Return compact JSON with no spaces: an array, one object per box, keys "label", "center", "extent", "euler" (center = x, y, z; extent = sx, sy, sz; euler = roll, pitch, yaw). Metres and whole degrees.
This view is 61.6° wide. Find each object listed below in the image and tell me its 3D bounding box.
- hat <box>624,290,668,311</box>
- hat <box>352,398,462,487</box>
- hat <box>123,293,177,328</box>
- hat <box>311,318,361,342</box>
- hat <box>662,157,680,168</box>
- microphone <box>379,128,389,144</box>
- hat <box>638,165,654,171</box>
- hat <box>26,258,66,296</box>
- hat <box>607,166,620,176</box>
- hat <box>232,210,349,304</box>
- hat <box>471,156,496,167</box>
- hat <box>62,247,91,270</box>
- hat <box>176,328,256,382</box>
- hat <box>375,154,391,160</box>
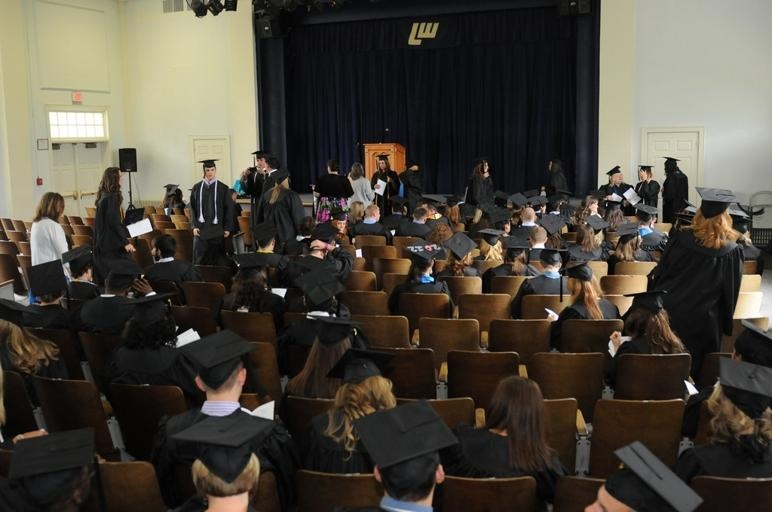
[{"label":"hat","center":[2.076,0.345,5.214],"extent":[0.206,0.109,0.182],"euler":[-4,3,-43]},{"label":"hat","center":[0.097,0.975,3.540],"extent":[0.436,0.164,0.415],"euler":[-4,10,-24]},{"label":"hat","center":[-1.793,0.417,4.928],"extent":[0.255,0.118,0.250],"euler":[-4,20,0]},{"label":"hat","center":[-0.325,0.526,4.710],"extent":[0.350,0.178,0.157],"euler":[-7,12,-37]},{"label":"hat","center":[5.891,-1.967,13.468],"extent":[0.346,0.194,0.374],"euler":[3,10,24]},{"label":"microphone","center":[-0.030,-3.417,18.112],"extent":[0.261,0.394,0.047],"euler":[4,10,20]},{"label":"hat","center":[5.513,-1.895,13.797],"extent":[0.239,0.210,0.264],"euler":[5,9,40]},{"label":"hat","center":[-3.047,0.201,5.852],"extent":[0.309,0.334,0.077],"euler":[-7,-7,9]},{"label":"hat","center":[4.600,-1.747,13.266],"extent":[0.296,0.168,0.290],"euler":[0,5,41]},{"label":"hat","center":[-0.823,0.206,6.360],"extent":[0.799,1.131,0.884],"euler":[5,28,13]},{"label":"hat","center":[2.435,-2.366,16.059],"extent":[0.531,0.356,0.777],"euler":[6,13,32]},{"label":"hat","center":[-3.158,-0.011,6.651],"extent":[0.215,0.088,0.225],"euler":[8,18,35]},{"label":"hat","center":[-1.063,0.651,4.137],"extent":[0.372,0.235,0.394],"euler":[-8,13,-42]},{"label":"hat","center":[-0.115,-2.237,14.468],"extent":[0.266,0.153,0.275],"euler":[4,9,37]}]
